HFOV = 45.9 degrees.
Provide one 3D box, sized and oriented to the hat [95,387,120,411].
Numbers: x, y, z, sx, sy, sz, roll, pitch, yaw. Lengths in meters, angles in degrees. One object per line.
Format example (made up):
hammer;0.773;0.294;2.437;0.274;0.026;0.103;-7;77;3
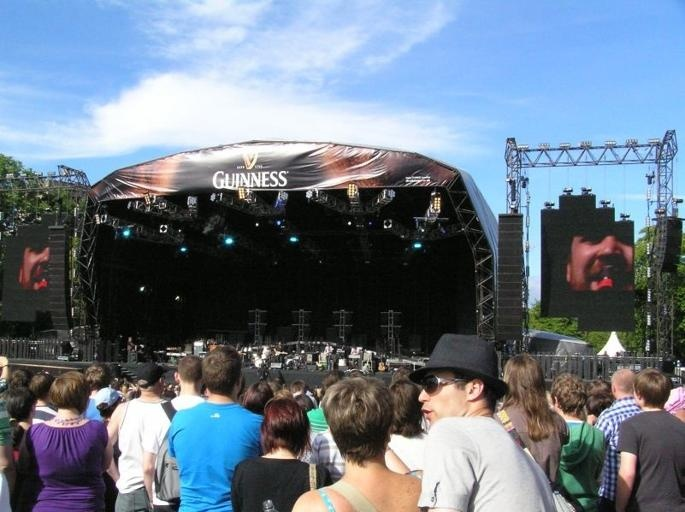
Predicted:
hat;-2.349;1.467;8.156;0.173;0.105;0.216;-6;18;8

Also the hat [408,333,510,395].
hat;0.829;0.722;5.571;0.676;0.285;0.562;3;-6;24

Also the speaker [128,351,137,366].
speaker;-5.264;2.654;20.472;0.282;0.234;0.464;6;-5;-10

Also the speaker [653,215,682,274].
speaker;7.930;-0.254;19.751;0.592;1.339;1.305;1;-4;20

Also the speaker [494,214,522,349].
speaker;3.533;0.481;17.032;0.566;2.674;0.389;2;-4;9
